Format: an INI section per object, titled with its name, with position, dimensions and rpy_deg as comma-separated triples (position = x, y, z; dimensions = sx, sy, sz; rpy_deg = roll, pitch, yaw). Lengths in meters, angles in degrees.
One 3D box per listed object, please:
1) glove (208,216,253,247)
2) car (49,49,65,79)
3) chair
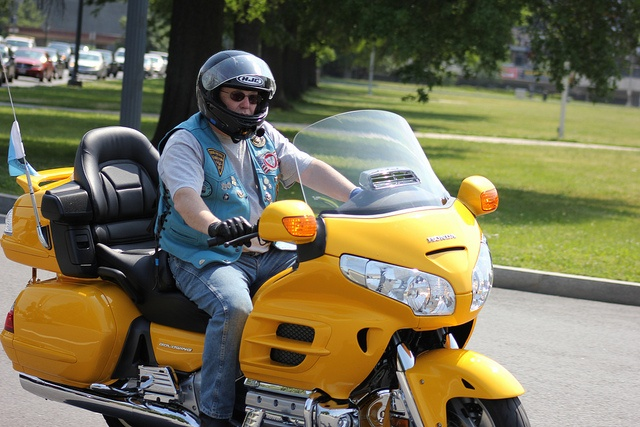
[glove]
position = -0.627, 0.128, 5.194
dimensions = 0.259, 0.204, 0.127
rpy_deg = 0, -33, -5
[car]
position = -15.416, -8.907, 42.721
dimensions = 1.207, 1.099, 2.096
rpy_deg = 0, -1, -12
[chair]
position = -1.445, -0.015, 6.152
dimensions = 1.436, 1.521, 1.366
rpy_deg = -10, 5, -41
